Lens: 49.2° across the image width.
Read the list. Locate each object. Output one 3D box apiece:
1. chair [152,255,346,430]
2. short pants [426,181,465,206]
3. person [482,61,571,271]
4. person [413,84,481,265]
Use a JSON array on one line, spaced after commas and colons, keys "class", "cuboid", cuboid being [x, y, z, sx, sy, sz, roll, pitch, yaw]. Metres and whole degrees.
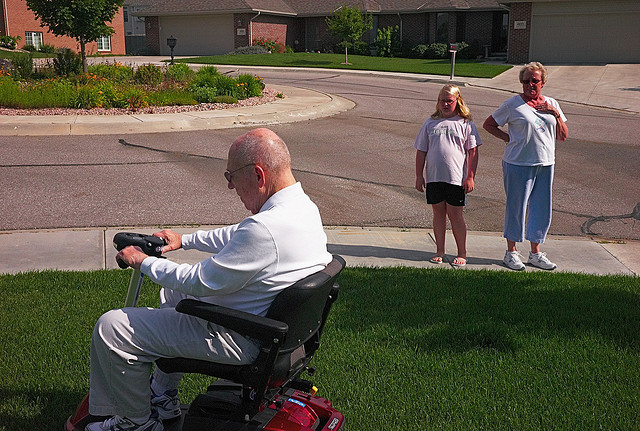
[{"class": "chair", "cuboid": [-0.492, 1.113, 6.512, 1.750, 1.438, 1.429, 7, 3, 16]}, {"class": "short pants", "cuboid": [1.685, -0.312, 9.423, 0.532, 0.378, 0.309, 5, 6, 22]}, {"class": "person", "cuboid": [2.794, -0.662, 9.372, 0.948, 2.674, 0.721, 4, 15, 12]}, {"class": "person", "cuboid": [1.697, -0.554, 9.387, 0.848, 2.349, 0.547, 4, 15, 11]}]
